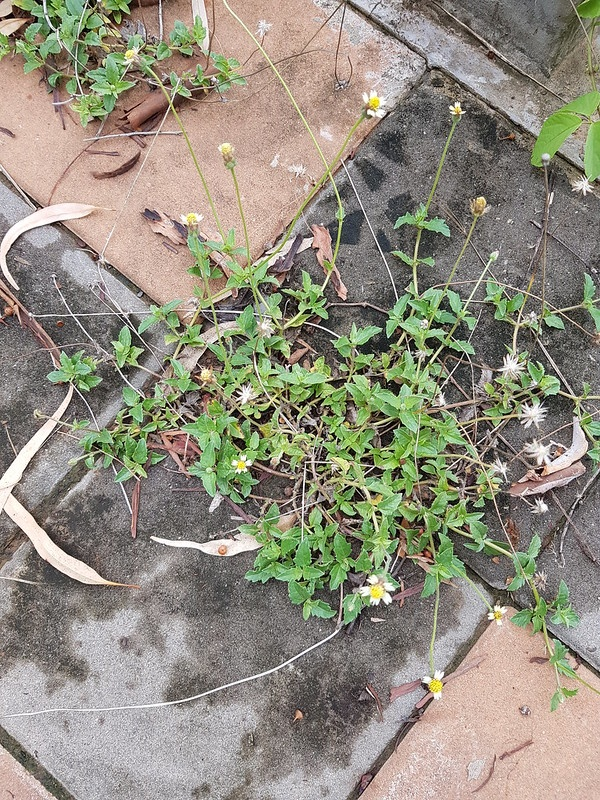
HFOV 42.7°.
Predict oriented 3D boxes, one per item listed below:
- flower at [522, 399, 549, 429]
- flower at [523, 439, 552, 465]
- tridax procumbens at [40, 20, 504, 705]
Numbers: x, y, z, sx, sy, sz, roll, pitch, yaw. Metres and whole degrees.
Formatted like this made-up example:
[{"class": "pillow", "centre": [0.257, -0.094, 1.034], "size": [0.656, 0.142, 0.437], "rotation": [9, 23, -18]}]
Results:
[{"class": "flower", "centre": [0.688, 0.041, 2.261], "size": [0.095, 0.038, 0.090], "rotation": [-12, 96, 22]}, {"class": "flower", "centre": [0.703, 0.154, 2.281], "size": [0.073, 0.017, 0.072], "rotation": [-43, 75, 26]}, {"class": "tridax procumbens", "centre": [0.098, -0.089, 2.732], "size": [1.451, 0.467, 1.771], "rotation": [9, 87, -1]}]
